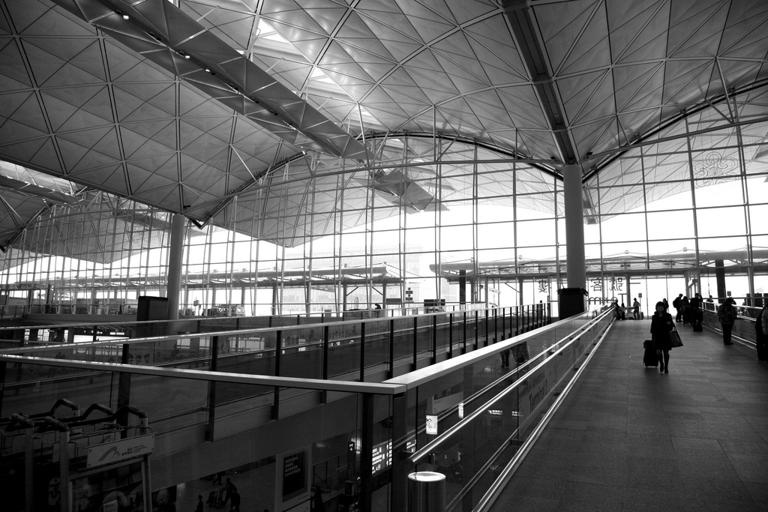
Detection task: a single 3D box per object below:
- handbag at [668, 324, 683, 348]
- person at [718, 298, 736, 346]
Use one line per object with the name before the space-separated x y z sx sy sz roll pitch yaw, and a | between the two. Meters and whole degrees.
handbag | 8.176 2.226 15.395 0.236 0.621 0.819 -7 -6 29
person | 13.143 2.456 20.926 0.513 1.744 1.260 -7 -7 30
